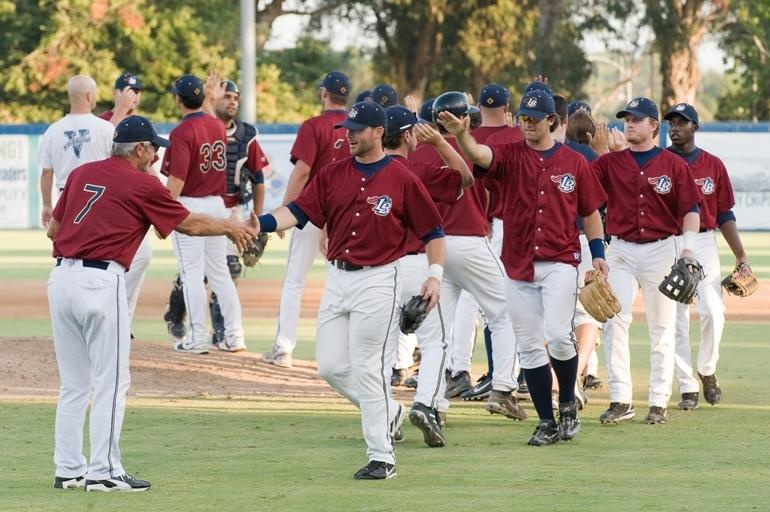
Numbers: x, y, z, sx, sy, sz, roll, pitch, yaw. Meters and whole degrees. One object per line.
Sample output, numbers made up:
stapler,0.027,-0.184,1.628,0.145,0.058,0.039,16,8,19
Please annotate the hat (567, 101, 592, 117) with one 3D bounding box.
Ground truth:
hat,2.609,-1.982,20.640,0.246,0.179,0.320,3,1,-16

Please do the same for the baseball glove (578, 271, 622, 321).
baseball glove,2.634,0.488,18.988,0.470,0.627,0.285,-35,-6,17

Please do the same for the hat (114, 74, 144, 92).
hat,-3.569,-2.382,21.178,0.344,0.190,0.247,7,4,38

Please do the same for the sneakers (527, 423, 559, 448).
sneakers,1.934,2.214,18.885,0.193,0.212,0.492,-4,-6,31

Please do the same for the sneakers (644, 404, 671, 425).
sneakers,3.456,2.051,19.620,0.212,0.196,0.455,-3,-8,22

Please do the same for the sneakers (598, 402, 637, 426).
sneakers,2.935,2.037,19.642,0.542,0.245,0.197,-2,-1,-22

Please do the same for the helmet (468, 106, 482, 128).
helmet,1.151,-1.787,19.847,0.184,0.262,0.092,7,16,31

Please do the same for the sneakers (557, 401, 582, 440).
sneakers,2.255,2.060,18.967,0.192,0.545,0.250,-8,-39,32

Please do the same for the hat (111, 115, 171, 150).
hat,-2.887,-1.460,18.145,0.530,0.286,0.316,-5,14,-19

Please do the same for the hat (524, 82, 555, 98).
hat,1.994,-2.193,20.053,0.407,0.175,0.267,10,12,35

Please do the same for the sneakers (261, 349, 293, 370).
sneakers,-1.493,1.457,21.555,0.463,0.201,0.190,13,16,41

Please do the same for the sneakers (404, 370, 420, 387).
sneakers,0.361,1.646,20.905,0.172,0.316,0.204,2,35,-4

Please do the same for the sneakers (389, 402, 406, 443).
sneakers,0.187,2.078,18.679,0.173,0.236,0.540,-7,-30,7

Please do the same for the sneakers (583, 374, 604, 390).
sneakers,2.785,1.729,20.801,0.351,0.230,0.113,-3,7,-10

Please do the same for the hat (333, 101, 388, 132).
hat,-0.229,-1.627,17.953,0.476,0.226,0.315,0,7,-10

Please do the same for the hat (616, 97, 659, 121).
hat,3.205,-1.873,19.613,0.432,0.218,0.301,11,-1,-9

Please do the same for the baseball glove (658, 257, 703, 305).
baseball glove,3.711,0.331,19.399,0.453,0.589,0.266,30,-2,1

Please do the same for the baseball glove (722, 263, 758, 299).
baseball glove,4.704,0.318,20.471,0.426,0.189,0.342,39,-15,25

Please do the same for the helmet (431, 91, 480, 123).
helmet,0.871,-1.899,19.398,0.553,0.267,0.376,-10,13,-19

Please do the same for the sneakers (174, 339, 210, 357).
sneakers,-2.716,1.311,21.772,0.524,0.221,0.192,7,3,10

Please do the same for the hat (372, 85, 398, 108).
hat,-0.026,-2.151,20.697,0.276,0.205,0.343,4,41,-10

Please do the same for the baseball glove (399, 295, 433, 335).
baseball glove,0.326,0.767,18.188,0.265,0.500,0.748,15,-5,-7

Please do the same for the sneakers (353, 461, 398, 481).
sneakers,-0.106,2.528,17.940,0.513,0.210,0.200,1,0,-8

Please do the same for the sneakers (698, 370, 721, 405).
sneakers,4.272,1.768,20.257,0.186,0.489,0.226,-12,-3,22
